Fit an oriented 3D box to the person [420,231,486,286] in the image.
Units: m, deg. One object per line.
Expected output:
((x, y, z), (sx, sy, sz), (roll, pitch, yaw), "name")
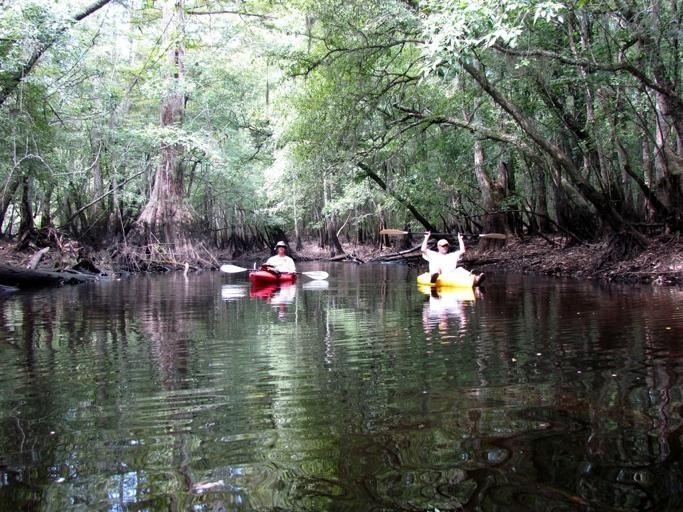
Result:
((2.419, 0.092, 12.700), (1.001, 1.210, 1.690), (1, -5, -10), "person")

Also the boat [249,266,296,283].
((-1.652, 0.447, 14.142), (0.436, 0.288, 1.315), (-5, -3, 39), "boat")

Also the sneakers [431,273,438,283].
((1.951, 0.447, 12.440), (0.171, 0.180, 0.144), (12, -1, 21), "sneakers")

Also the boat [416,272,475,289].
((2.190, 0.494, 12.292), (0.428, 0.283, 1.630), (-3, -3, -27), "boat")

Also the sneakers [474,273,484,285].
((2.860, 0.473, 12.298), (0.077, 0.201, 0.146), (27, -17, 7), "sneakers")

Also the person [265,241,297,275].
((-1.517, -0.043, 15.158), (0.894, 1.272, 0.774), (0, -9, -4), "person")
